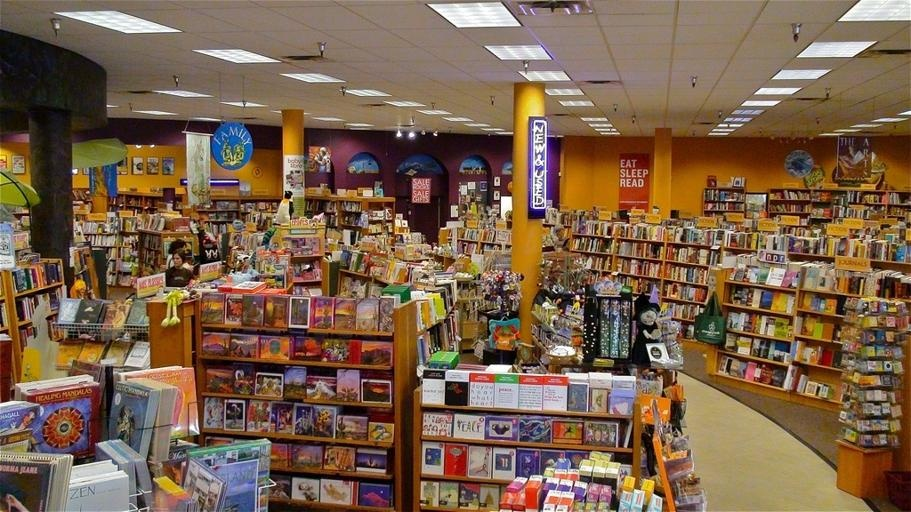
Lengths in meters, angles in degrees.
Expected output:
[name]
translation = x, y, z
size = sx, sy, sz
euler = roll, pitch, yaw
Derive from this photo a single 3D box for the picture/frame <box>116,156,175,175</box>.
[picture/frame]
translation = -10.184, -2.962, 20.283
size = 1.688, 0.632, 0.558
euler = -1, 6, -26
